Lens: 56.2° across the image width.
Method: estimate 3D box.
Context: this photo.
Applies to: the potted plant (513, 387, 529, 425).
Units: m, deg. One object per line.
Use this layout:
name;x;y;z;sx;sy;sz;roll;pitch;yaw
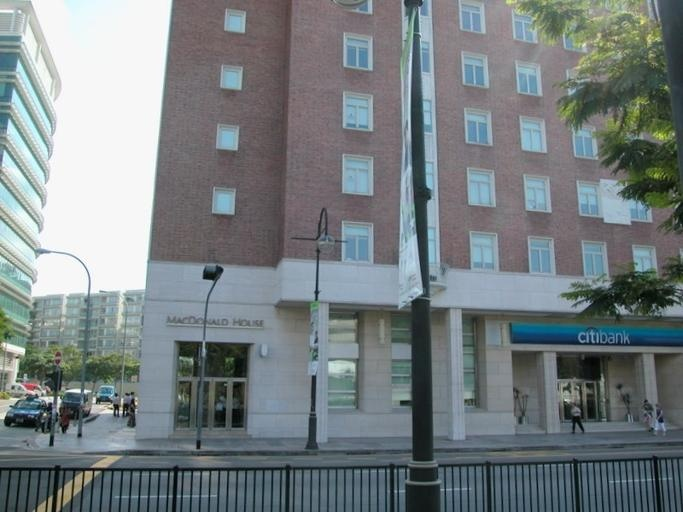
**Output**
potted plant;10.888;9.057;38.891;0.888;2.200;1.136;-9;-20;24
